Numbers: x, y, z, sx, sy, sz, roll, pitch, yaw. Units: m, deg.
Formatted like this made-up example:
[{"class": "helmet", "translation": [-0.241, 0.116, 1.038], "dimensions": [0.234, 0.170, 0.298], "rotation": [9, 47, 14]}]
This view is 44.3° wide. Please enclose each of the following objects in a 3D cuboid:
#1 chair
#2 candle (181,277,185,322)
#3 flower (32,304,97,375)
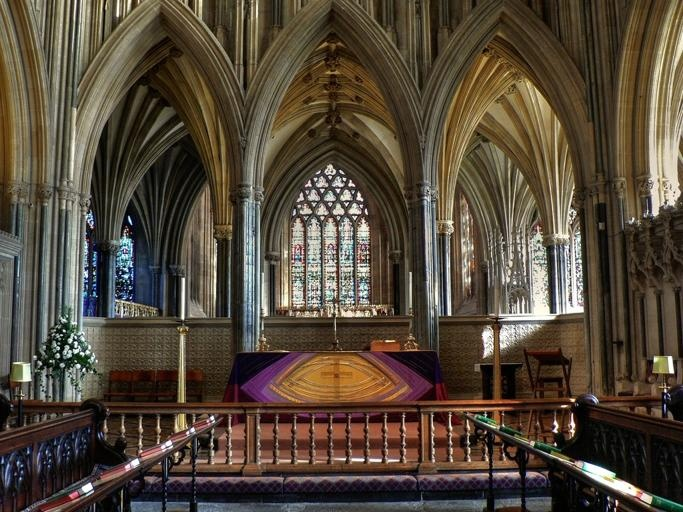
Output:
[{"class": "chair", "translation": [-4.341, 3.012, 19.369], "dimensions": [2.219, 0.813, 1.102], "rotation": [-1, -9, -17]}, {"class": "candle", "translation": [-2.140, 0.600, 11.309], "dimensions": [0.051, 0.528, 0.394], "rotation": [-1, -8, -15]}, {"class": "flower", "translation": [-5.076, 1.576, 15.518], "dimensions": [1.073, 1.605, 1.239], "rotation": [-2, 1, -17]}]
